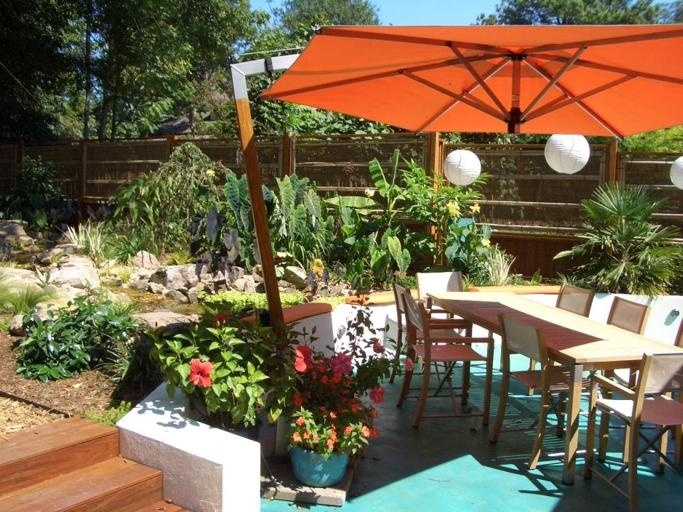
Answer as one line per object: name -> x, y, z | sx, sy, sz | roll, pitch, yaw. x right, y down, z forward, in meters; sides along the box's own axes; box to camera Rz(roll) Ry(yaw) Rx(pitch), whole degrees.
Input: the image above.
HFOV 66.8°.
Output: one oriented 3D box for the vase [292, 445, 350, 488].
vase -> -0.151, 1.597, 3.969 | 0.388, 0.262, 0.405 | 2, -5, -8
